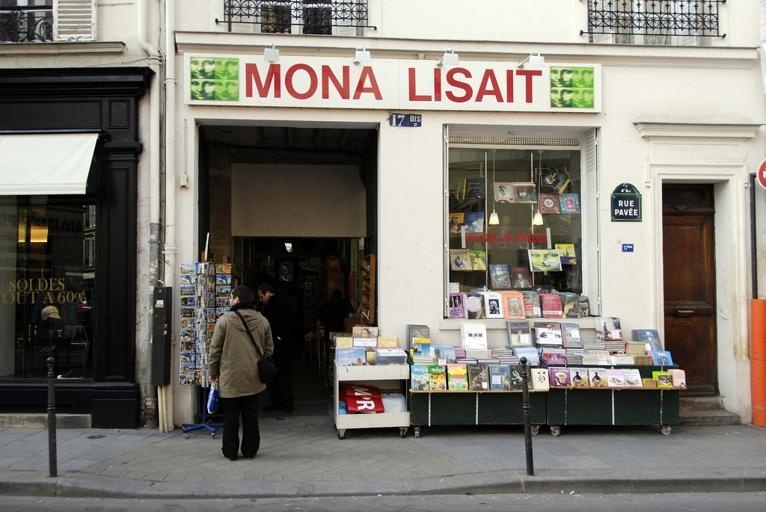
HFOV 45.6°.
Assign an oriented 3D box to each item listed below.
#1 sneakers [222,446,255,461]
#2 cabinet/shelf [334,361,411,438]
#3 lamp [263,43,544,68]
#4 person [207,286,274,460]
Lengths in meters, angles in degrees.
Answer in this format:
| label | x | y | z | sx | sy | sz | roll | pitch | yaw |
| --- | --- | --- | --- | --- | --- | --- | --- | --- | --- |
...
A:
| label | x | y | z | sx | sy | sz | roll | pitch | yaw |
| --- | --- | --- | --- | --- | --- | --- | --- | --- | --- |
| sneakers | -2.267 | 3.045 | 14.212 | 0.587 | 0.242 | 0.200 | -15 | -18 | 31 |
| cabinet/shelf | -0.217 | 2.387 | 15.563 | 1.300 | 1.120 | 0.934 | 0 | -7 | -9 |
| lamp | 0.534 | -3.454 | 15.795 | 4.616 | 0.442 | 0.434 | -1 | -2 | -3 |
| person | -2.225 | 1.800 | 14.294 | 0.994 | 2.668 | 0.411 | -1 | -3 | -13 |
